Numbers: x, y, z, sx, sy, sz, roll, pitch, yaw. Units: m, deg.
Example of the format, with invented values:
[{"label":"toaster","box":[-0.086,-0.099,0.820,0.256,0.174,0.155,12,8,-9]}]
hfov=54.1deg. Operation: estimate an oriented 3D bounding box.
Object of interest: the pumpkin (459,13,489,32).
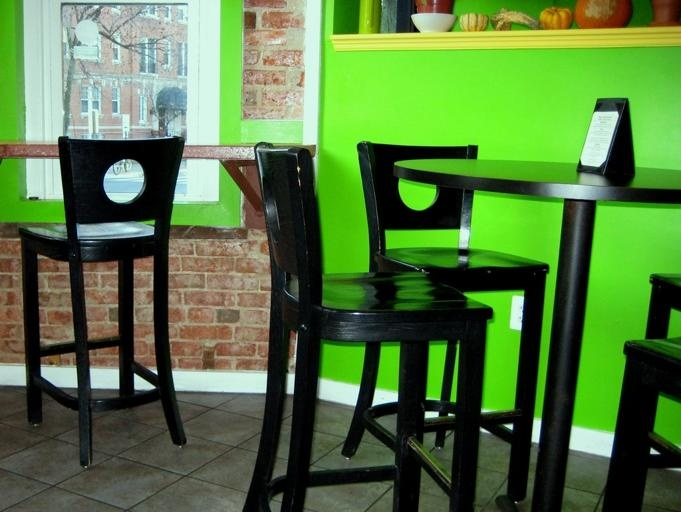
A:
[{"label":"pumpkin","box":[0.590,-1.038,2.950,0.113,0.057,0.105,-2,13,-2]}]

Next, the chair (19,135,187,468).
[{"label":"chair","box":[-1.022,0.136,2.864,0.612,1.293,0.717,-8,15,-36]}]

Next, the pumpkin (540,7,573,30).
[{"label":"pumpkin","box":[0.923,-1.001,2.865,0.132,0.116,0.128,1,18,21]}]
